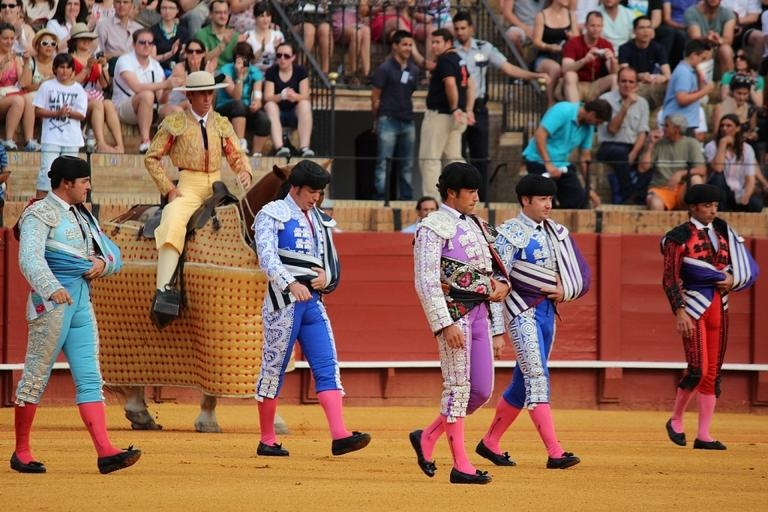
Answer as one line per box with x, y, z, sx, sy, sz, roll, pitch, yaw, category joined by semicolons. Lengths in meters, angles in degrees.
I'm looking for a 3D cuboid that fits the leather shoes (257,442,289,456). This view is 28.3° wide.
-0.971;1.663;13.210;0.303;0.116;0.108;1;2;-1;leather shoes

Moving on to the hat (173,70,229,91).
-1.731;-1.628;14.246;0.367;0.185;0.290;-1;4;-6;hat

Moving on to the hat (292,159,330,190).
-0.625;-0.684;12.917;0.233;0.196;0.293;0;12;-31;hat

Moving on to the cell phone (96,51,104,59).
-3.192;-2.247;17.141;0.107;0.102;0.029;4;-29;21;cell phone

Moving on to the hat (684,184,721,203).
2.949;-0.564;14.112;0.200;0.124;0.230;-2;0;-31;hat

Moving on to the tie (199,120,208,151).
-1.691;-1.135;14.316;0.061;0.298;0.082;-6;-5;3;tie

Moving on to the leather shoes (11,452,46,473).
-2.954;1.715;12.621;0.320;0.120;0.122;-3;-6;29;leather shoes

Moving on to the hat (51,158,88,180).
-2.639;-0.729;12.766;0.262;0.148;0.189;-7;12;-3;hat

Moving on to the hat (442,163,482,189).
0.641;-0.652;12.646;0.245;0.147;0.240;1;8;3;hat

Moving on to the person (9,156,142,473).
-2.652;0.485;12.641;0.966;2.606;0.657;-2;5;-13;person

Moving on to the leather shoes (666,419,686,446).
2.735;1.664;14.257;0.114;0.286;0.116;-4;-31;-44;leather shoes

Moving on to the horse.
-1.635;0.488;14.807;1.275;2.688;4.090;-6;3;-37;horse

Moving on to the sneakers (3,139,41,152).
-3.892;-1.197;16.463;0.440;0.180;0.146;-4;5;-4;sneakers

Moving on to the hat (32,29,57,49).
-3.771;-2.389;16.872;0.298;0.300;0.100;-1;-1;-7;hat

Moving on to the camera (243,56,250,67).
-1.563;-2.191;17.279;0.019;0.068;0.071;-26;20;28;camera

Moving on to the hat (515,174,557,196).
1.319;-0.607;13.161;0.253;0.141;0.197;-1;5;13;hat

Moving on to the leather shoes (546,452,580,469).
1.528;1.738;13.000;0.306;0.117;0.113;-7;-2;13;leather shoes

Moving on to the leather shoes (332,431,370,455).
-0.266;1.549;12.739;0.375;0.136;0.144;-17;-6;14;leather shoes

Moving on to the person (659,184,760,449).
3.024;0.546;14.150;0.817;2.401;0.537;-1;4;-2;person

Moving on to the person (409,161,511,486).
0.664;0.540;12.586;0.759;2.609;0.556;-4;5;-31;person

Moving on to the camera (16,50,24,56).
-4.096;-2.271;17.110;0.051;0.025;0.072;18;-1;26;camera

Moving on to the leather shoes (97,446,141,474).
-2.208;1.678;12.642;0.339;0.218;0.292;-2;5;-15;leather shoes

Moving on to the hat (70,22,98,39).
-3.421;-2.550;17.287;0.310;0.126;0.328;-5;2;-11;hat

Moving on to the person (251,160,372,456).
-0.688;0.472;12.872;0.813;2.545;0.691;-1;4;-6;person

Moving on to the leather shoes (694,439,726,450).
3.013;1.716;14.024;0.280;0.090;0.108;-1;0;11;leather shoes
